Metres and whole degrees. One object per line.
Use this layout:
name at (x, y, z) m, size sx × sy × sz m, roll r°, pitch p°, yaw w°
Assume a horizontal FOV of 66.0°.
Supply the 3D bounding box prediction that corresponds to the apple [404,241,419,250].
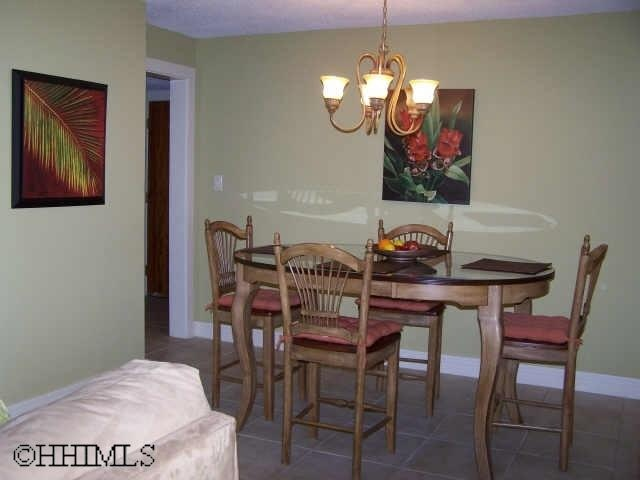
apple at (0.595, 0.037, 3.183) m, size 0.062 × 0.037 × 0.061 m, roll -2°, pitch 2°, yaw -41°

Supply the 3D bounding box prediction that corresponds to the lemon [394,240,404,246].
lemon at (0.524, 0.021, 3.222) m, size 0.043 × 0.033 × 0.055 m, roll 3°, pitch -3°, yaw 11°

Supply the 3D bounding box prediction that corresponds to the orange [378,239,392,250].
orange at (0.427, 0.032, 3.182) m, size 0.072 × 0.075 × 0.072 m, roll 2°, pitch 3°, yaw 33°

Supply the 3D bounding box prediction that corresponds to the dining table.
dining table at (0.648, 0.975, 3.300) m, size 1.891 × 1.266 × 1.167 m, roll 3°, pitch 8°, yaw 23°
